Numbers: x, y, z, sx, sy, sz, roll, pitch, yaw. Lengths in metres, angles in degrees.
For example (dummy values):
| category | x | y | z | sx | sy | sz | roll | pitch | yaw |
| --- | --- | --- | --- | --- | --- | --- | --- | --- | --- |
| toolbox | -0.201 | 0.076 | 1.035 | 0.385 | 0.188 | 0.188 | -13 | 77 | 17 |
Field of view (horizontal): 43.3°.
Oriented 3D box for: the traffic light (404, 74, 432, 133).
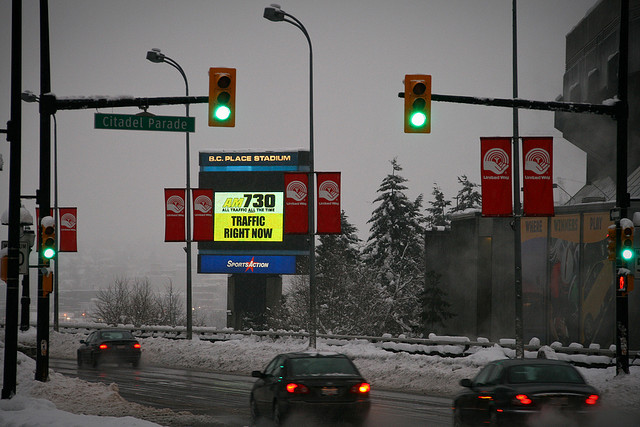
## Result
| category | x | y | z | sx | sy | sz | roll | pitch | yaw |
| --- | --- | --- | --- | --- | --- | --- | --- | --- | --- |
| traffic light | 3.397 | -3.825 | 28.048 | 0.906 | 2.053 | 0.296 | 1 | -6 | 1 |

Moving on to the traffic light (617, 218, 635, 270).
| category | x | y | z | sx | sy | sz | roll | pitch | yaw |
| --- | --- | --- | --- | --- | --- | --- | --- | --- | --- |
| traffic light | 11.549 | 1.121 | 30.366 | 0.663 | 1.934 | 0.355 | 0 | -6 | 9 |

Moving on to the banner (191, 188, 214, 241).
| category | x | y | z | sx | sy | sz | roll | pitch | yaw |
| --- | --- | --- | --- | --- | --- | --- | --- | --- | --- |
| banner | -6.891 | 0.002 | 47.496 | 1.188 | 3.162 | 1.617 | 2 | -6 | -10 |

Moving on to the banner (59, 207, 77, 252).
| category | x | y | z | sx | sy | sz | roll | pitch | yaw |
| --- | --- | --- | --- | --- | --- | --- | --- | --- | --- |
| banner | -15.546 | 0.972 | 50.013 | 1.192 | 2.866 | 0.093 | 1 | 14 | -16 |

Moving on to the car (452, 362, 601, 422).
| category | x | y | z | sx | sy | sz | roll | pitch | yaw |
| --- | --- | --- | --- | --- | --- | --- | --- | --- | --- |
| car | 6.382 | 5.536 | 24.680 | 4.178 | 1.945 | 1.814 | -2 | -7 | 21 |

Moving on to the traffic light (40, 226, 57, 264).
| category | x | y | z | sx | sy | sz | roll | pitch | yaw |
| --- | --- | --- | --- | --- | --- | --- | --- | --- | --- |
| traffic light | -10.047 | 1.137 | 29.756 | 0.514 | 1.393 | 0.619 | 2 | -6 | -14 |

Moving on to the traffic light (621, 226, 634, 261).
| category | x | y | z | sx | sy | sz | roll | pitch | yaw |
| --- | --- | --- | --- | --- | --- | --- | --- | --- | --- |
| traffic light | 11.582 | 1.111 | 30.280 | 0.494 | 1.264 | 0.185 | 1 | -6 | -2 |

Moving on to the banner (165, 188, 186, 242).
| category | x | y | z | sx | sy | sz | roll | pitch | yaw |
| --- | --- | --- | --- | --- | --- | --- | --- | --- | --- |
| banner | -8.245 | 0.002 | 45.940 | 1.141 | 3.060 | 1.207 | 2 | -6 | -10 |

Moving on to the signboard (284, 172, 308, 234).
| category | x | y | z | sx | sy | sz | roll | pitch | yaw |
| --- | --- | --- | --- | --- | --- | --- | --- | --- | --- |
| signboard | -1.147 | -0.594 | 39.959 | 1.153 | 3.002 | 0.611 | 1 | -6 | -3 |

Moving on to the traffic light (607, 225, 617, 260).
| category | x | y | z | sx | sy | sz | roll | pitch | yaw |
| --- | --- | --- | --- | --- | --- | --- | --- | --- | --- |
| traffic light | 11.108 | 1.058 | 30.586 | 0.297 | 1.320 | 0.306 | -1 | -6 | 18 |

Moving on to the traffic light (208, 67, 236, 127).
| category | x | y | z | sx | sy | sz | roll | pitch | yaw |
| --- | --- | --- | --- | --- | --- | --- | --- | --- | --- |
| traffic light | -3.297 | -4.076 | 27.830 | 0.811 | 2.037 | 0.951 | -1 | 12 | -4 |

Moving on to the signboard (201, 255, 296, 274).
| category | x | y | z | sx | sy | sz | roll | pitch | yaw |
| --- | --- | --- | --- | --- | --- | --- | --- | --- | --- |
| signboard | -6.529 | 4.529 | 72.941 | 8.288 | 1.619 | 0.681 | 1 | -6 | 3 |
